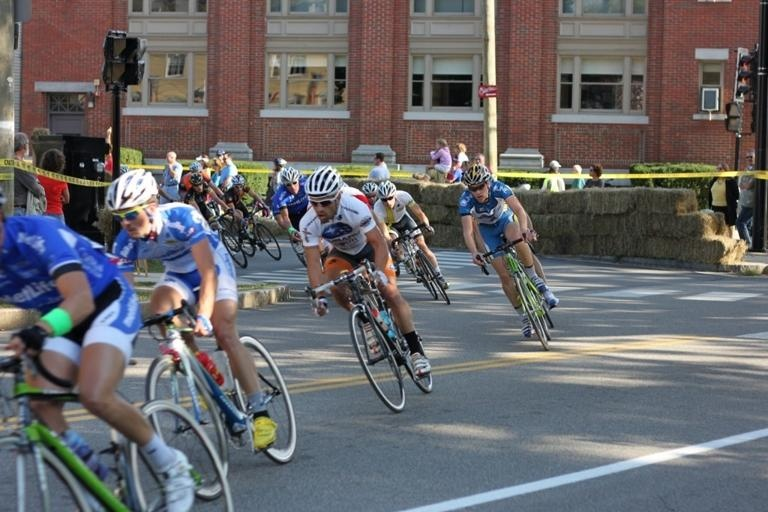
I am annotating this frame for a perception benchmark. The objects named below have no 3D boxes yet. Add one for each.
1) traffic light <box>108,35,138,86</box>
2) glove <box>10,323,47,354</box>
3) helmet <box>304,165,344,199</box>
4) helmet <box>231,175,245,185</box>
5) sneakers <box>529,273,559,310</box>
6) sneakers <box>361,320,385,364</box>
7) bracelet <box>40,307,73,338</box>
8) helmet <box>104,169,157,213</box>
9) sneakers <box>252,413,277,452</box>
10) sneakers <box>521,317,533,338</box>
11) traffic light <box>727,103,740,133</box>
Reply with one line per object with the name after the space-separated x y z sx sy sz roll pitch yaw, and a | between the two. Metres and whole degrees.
-4.168 -3.153 16.483 0.598 0.901 0.340 -3 7 -14 | traffic light
-2.553 0.599 7.497 0.165 0.107 0.222 7 45 47 | glove
-0.598 -0.776 10.851 0.281 0.205 0.391 3 28 14 | helmet
-3.168 -1.657 22.472 0.267 0.146 0.397 0 11 -10 | helmet
2.395 0.538 15.295 0.195 0.218 0.689 -5 46 -27 | sneakers
-0.111 0.932 11.152 0.169 0.552 0.213 -18 9 -21 | sneakers
-2.422 0.485 7.665 0.230 0.198 0.124 -5 8 -28 | bracelet
-2.056 -0.591 8.544 0.291 0.165 0.425 8 28 16 | helmet
-1.075 1.591 9.306 0.192 0.324 0.167 -4 -19 -2 | sneakers
1.976 0.989 14.173 0.166 0.274 0.274 -25 -13 2 | sneakers
9.039 -3.611 26.561 0.347 0.773 0.827 2 7 23 | traffic light
